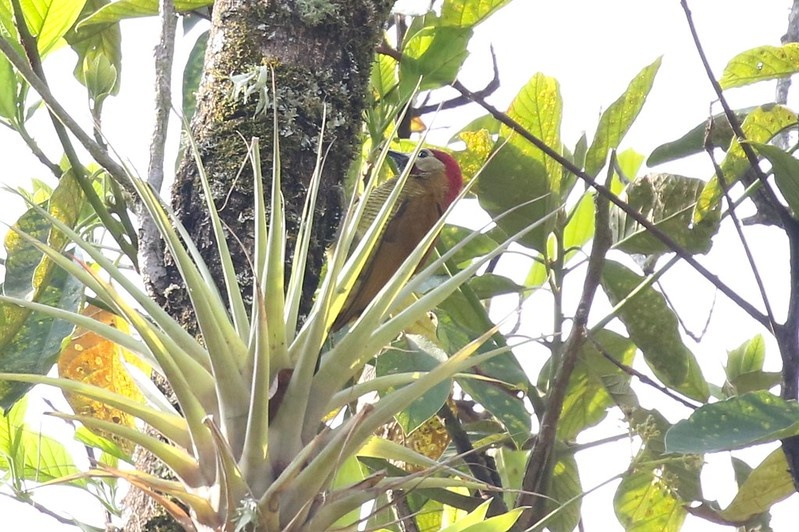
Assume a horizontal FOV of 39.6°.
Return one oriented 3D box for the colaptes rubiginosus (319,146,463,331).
[{"bbox_3d":[-0.026,-0.049,2.427,0.240,0.397,0.168,26,-36,9],"label":"colaptes rubiginosus"}]
